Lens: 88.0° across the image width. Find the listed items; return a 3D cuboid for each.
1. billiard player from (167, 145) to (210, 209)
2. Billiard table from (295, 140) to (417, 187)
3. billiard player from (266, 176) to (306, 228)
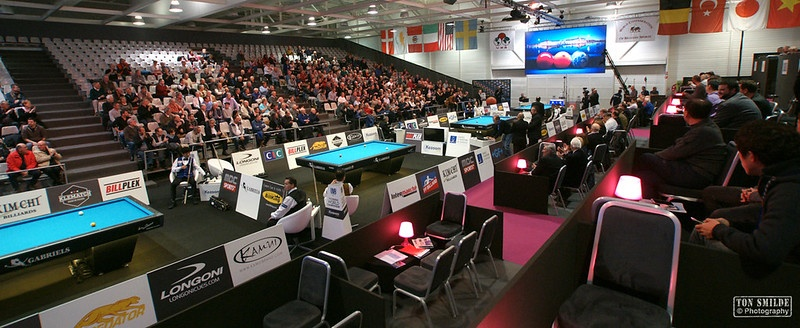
[{"bbox_3d":[-12.173,0.676,23.449,1.942,2.768,1.898,-2,8,-14],"label":"billiard player"},{"bbox_3d":[-2.401,-0.141,25.323,3.761,1.218,6.571,12,19,39],"label":"Billiard table"},{"bbox_3d":[-5.638,1.861,20.692,2.230,2.689,1.339,1,0,3],"label":"billiard player"}]
